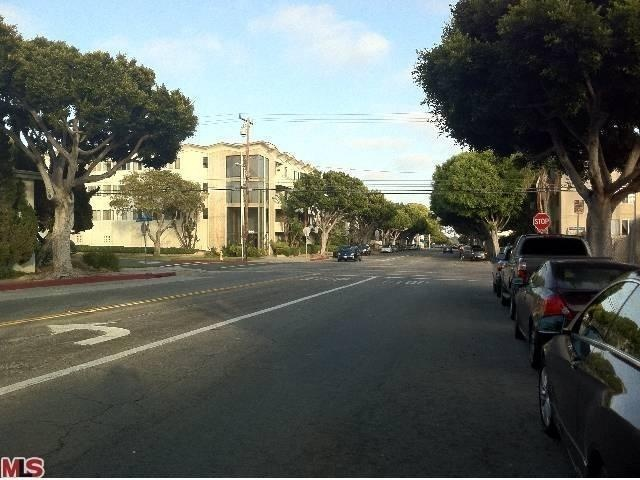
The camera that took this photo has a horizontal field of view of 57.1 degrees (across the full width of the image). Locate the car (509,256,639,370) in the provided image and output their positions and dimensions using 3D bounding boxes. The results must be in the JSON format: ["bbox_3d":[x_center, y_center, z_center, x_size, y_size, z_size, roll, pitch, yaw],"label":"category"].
[{"bbox_3d":[3.926,1.036,9.277,1.190,1.161,3.049,-1,2,7],"label":"car"}]

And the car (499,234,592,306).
[{"bbox_3d":[5.940,0.801,16.081,1.711,1.658,3.703,-1,1,3],"label":"car"}]
